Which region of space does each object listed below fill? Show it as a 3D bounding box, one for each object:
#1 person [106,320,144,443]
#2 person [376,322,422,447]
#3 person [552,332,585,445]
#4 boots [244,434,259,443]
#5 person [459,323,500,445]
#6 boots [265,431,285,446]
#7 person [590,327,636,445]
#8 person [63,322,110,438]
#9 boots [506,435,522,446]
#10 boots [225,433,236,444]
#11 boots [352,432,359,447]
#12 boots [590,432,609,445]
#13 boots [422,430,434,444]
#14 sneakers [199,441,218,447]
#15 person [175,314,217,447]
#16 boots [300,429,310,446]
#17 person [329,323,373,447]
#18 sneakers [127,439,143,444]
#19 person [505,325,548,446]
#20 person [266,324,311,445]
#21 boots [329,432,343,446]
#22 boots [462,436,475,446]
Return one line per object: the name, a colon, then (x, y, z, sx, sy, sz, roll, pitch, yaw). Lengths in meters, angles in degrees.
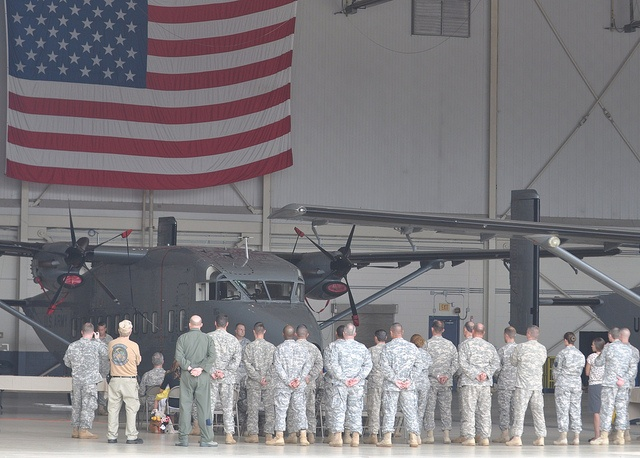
person: (-5.267, 4.143, 50.097, 0.935, 3.281, 1.257, 1, -11, -6)
person: (2.176, 4.234, 50.245, 1.203, 3.292, 0.972, 0, -11, -1)
person: (6.866, 4.418, 51.278, 0.877, 3.090, 0.712, 3, -12, -15)
boots: (-1.869, 5.733, 50.650, 0.357, 0.196, 0.184, 10, 10, 38)
person: (4.335, 4.268, 50.784, 1.080, 3.295, 0.926, -1, -11, 1)
boots: (-1.205, 5.684, 50.266, 0.491, 0.396, 0.492, 0, -10, -1)
person: (8.224, 4.362, 51.412, 1.142, 3.213, 0.777, 0, -11, -1)
person: (-6.322, 4.127, 50.444, 1.050, 3.045, 0.855, -3, -12, 14)
boots: (5.344, 5.810, 50.716, 0.452, 0.376, 0.203, 2, -2, 18)
boots: (-2.429, 5.723, 50.390, 0.290, 0.316, 0.567, 0, -10, -3)
boots: (0.954, 5.719, 50.267, 0.211, 0.391, 0.451, -1, -10, 2)
boots: (7.792, 5.836, 51.343, 0.586, 0.478, 0.256, 1, -8, 20)
boots: (2.917, 5.761, 51.066, 0.215, 0.367, 0.426, 4, 0, -25)
sneakers: (-2.977, 5.790, 49.794, 0.464, 0.166, 0.156, 1, -3, -9)
person: (-3.322, 4.086, 49.770, 1.039, 3.483, 0.921, 0, -11, 0)
boots: (-0.418, 5.687, 50.353, 0.271, 0.414, 0.648, 0, -10, 0)
person: (0.748, 4.238, 50.210, 1.209, 3.295, 0.931, 0, -11, 1)
sneakers: (-4.993, 5.721, 50.095, 0.479, 0.174, 0.148, 1, 7, -17)
person: (5.705, 4.295, 50.777, 0.970, 3.234, 0.623, -1, -11, 5)
person: (-0.773, 4.243, 50.158, 1.058, 3.195, 0.634, 0, -11, -1)
boots: (0.430, 5.701, 50.164, 0.346, 0.399, 0.376, 0, -11, -3)
boots: (4.060, 5.814, 50.725, 0.176, 0.302, 0.340, 0, 8, -11)
